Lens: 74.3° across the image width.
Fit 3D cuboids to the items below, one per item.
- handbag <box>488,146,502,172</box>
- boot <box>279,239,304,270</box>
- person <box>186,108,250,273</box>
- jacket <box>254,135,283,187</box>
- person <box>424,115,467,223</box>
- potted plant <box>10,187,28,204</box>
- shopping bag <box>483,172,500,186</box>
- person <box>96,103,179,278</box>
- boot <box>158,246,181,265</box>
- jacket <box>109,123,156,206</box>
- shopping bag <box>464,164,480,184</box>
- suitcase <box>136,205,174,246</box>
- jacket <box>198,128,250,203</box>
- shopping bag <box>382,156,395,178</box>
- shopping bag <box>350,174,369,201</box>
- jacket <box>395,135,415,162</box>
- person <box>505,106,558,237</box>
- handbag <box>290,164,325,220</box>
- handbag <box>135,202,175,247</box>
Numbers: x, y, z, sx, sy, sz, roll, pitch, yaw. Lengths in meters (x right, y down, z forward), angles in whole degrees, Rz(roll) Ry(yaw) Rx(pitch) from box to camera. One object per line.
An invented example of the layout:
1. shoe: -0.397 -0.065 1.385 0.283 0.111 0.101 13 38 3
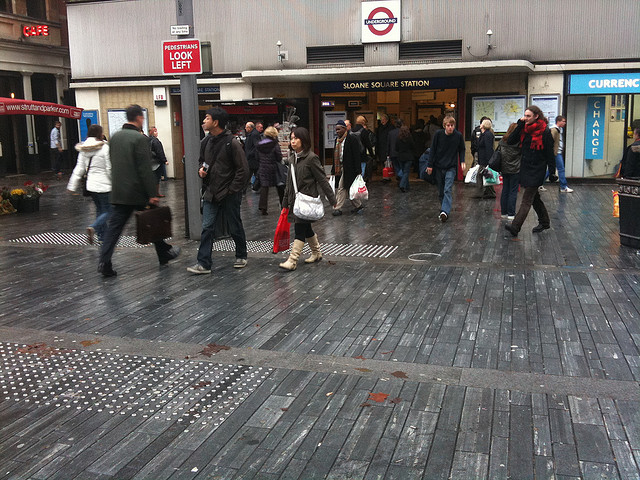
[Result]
1. handbag: 4.135 -1.918 9.952 0.278 0.605 0.397 3 11 19
2. boot: -0.440 0.246 6.887 0.238 0.469 0.463 7 14 38
3. person: -1.570 -0.810 6.797 0.869 2.591 0.590 -3 10 -12
4. jacket: -1.460 -2.120 12.384 0.771 2.214 0.895 4 13 9
5. person: 3.117 -1.825 10.687 0.816 2.603 1.112 6 12 35
6. potted plant: -8.875 -1.319 12.579 0.389 0.393 0.412 -5 10 -43
7. shopping bag: 5.464 -1.945 13.526 0.474 0.477 0.964 4 13 21
8. person: -2.807 -0.799 6.774 1.279 2.643 0.968 -2 9 -37
9. boot: -2.540 0.273 7.217 0.377 0.286 0.261 -9 14 -35
10. jacket: -2.945 -1.192 6.598 0.714 1.260 0.438 -1 -3 14
11. shopping bag: 5.199 -2.260 14.361 0.565 0.679 0.416 9 14 43
12. suitcase: -2.573 -0.231 6.605 0.211 0.555 0.595 4 22 35
13. jacket: -1.499 -1.203 6.790 0.788 1.159 0.502 1 10 11
14. shopping bag: 3.064 -3.249 18.743 0.324 0.909 1.304 2 12 18
15. shopping bag: 1.065 -1.467 11.652 0.440 0.693 0.839 0 11 4
16. jacket: 3.219 -3.531 16.068 0.660 1.686 0.593 6 28 21
17. person: 4.510 -1.474 8.948 0.842 2.695 1.593 4 11 25
18. handbag: -0.198 -0.804 7.026 0.563 1.010 0.402 3 -4 -26
19. handbag: -2.557 -0.300 6.558 0.249 0.622 0.609 15 20 26
